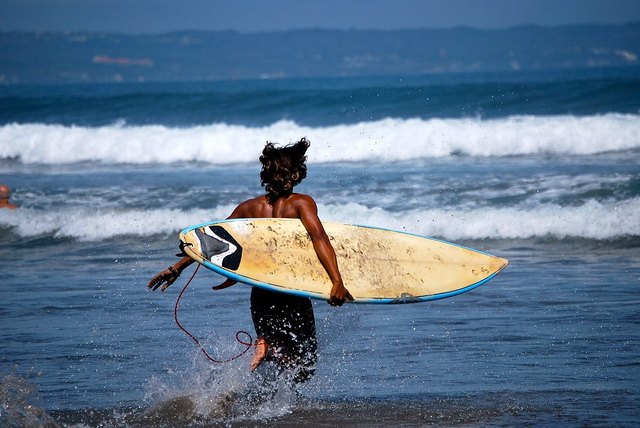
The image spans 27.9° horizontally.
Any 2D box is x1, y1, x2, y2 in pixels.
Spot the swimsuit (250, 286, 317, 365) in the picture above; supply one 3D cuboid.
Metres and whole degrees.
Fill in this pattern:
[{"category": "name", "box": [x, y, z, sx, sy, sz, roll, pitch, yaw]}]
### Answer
[{"category": "swimsuit", "box": [-1.175, 4.173, 48.419, 3.042, 1.790, 0.777, 50, 7, -7]}]
